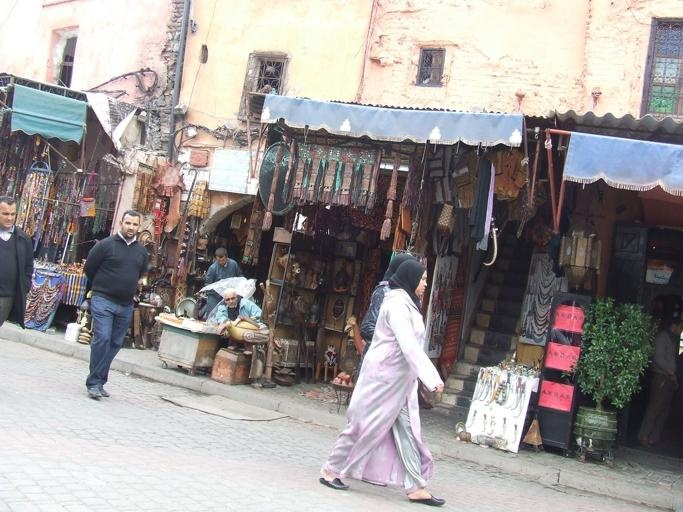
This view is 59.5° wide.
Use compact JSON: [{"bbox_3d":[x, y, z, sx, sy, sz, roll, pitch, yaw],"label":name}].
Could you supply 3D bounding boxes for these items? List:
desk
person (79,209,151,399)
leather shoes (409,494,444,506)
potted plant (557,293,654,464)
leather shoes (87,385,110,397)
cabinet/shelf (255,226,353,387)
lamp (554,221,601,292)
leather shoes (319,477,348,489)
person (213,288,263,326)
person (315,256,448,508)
[{"bbox_3d":[-2.752,1.620,10.630,1.077,0.897,0.952,11,-1,17],"label":"desk"},{"bbox_3d":[-3.092,0.606,7.971,0.781,2.507,0.456,9,-4,-23],"label":"person"},{"bbox_3d":[0.851,2.434,5.964,0.341,0.110,0.135,1,-1,8],"label":"leather shoes"},{"bbox_3d":[3.998,1.855,8.977,1.034,2.421,0.412,6,-4,18],"label":"potted plant"},{"bbox_3d":[-3.197,1.779,7.846,0.281,0.167,0.322,10,-4,-21],"label":"leather shoes"},{"bbox_3d":[-0.672,1.043,11.573,1.001,3.809,2.262,-5,-13,31],"label":"cabinet/shelf"},{"bbox_3d":[3.908,-0.043,9.799,0.540,1.045,0.618,1,5,6],"label":"lamp"},{"bbox_3d":[-0.077,2.257,6.011,0.198,0.069,0.116,1,-2,30],"label":"leather shoes"},{"bbox_3d":[-1.851,0.904,10.657,0.627,0.765,0.681,-21,-4,13],"label":"person"},{"bbox_3d":[0.515,1.193,6.053,1.089,1.806,0.656,7,-3,12],"label":"person"}]
